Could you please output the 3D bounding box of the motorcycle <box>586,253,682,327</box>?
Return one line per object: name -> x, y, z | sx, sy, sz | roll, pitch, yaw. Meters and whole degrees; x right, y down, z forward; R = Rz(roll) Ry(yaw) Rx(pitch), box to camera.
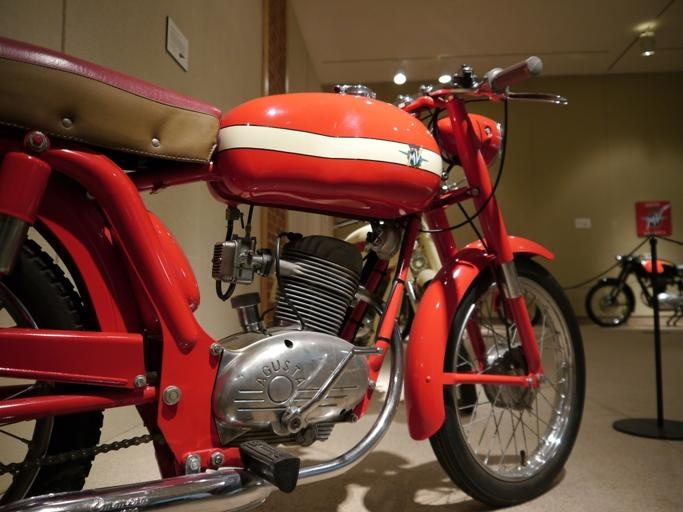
motorcycle -> 2.790, 0.355, 5.261 | 1.083, 0.793, 0.645 | 1, -2, 7
